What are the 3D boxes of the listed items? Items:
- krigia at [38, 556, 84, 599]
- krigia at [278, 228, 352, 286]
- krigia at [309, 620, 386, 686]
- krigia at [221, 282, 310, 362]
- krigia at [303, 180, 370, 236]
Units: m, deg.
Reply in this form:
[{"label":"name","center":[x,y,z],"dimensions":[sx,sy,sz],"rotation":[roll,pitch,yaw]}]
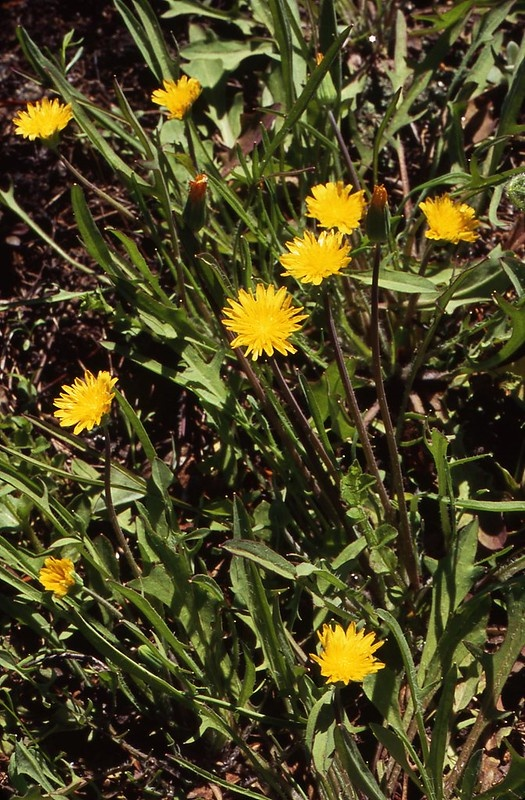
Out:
[{"label":"krigia","center":[-0.336,0.282,1.134],"dimensions":[0.069,0.045,0.072],"rotation":[-19,70,26]},{"label":"krigia","center":[0.087,-0.213,1.042],"dimensions":[0.103,0.102,0.046],"rotation":[-13,74,24]},{"label":"krigia","center":[0.120,0.349,0.956],"dimensions":[0.091,0.110,0.092],"rotation":[-12,47,15]},{"label":"krigia","center":[0.005,-0.125,1.064],"dimensions":[0.121,0.121,0.051],"rotation":[14,74,16]},{"label":"krigia","center":[0.116,-0.302,1.112],"dimensions":[0.091,0.100,0.045],"rotation":[17,73,15]}]
